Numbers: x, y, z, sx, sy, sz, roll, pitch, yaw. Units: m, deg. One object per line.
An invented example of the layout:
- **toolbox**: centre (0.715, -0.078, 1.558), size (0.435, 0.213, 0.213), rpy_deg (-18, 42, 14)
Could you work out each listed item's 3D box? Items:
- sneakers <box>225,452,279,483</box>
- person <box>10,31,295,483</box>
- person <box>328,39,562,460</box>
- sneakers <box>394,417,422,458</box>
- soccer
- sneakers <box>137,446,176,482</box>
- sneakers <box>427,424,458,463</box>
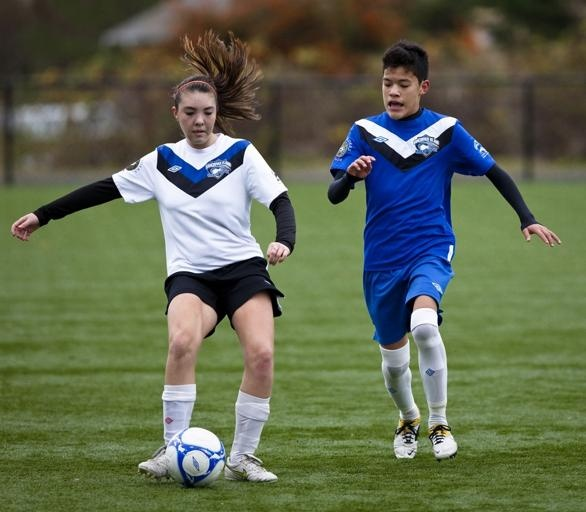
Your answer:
- **sneakers**: centre (-0.266, 1.208, 5.842), size (0.344, 0.156, 0.124), rpy_deg (1, 3, 16)
- **person**: centre (-0.612, 0.097, 5.928), size (1.231, 2.245, 0.868), rpy_deg (-1, 11, 0)
- **person**: centre (0.748, -0.048, 6.192), size (1.112, 2.453, 0.820), rpy_deg (2, 12, 12)
- **sneakers**: centre (0.689, 1.102, 6.191), size (0.094, 0.117, 0.272), rpy_deg (7, 22, -1)
- **soccer**: centre (-0.500, 1.131, 5.741), size (0.311, 0.311, 0.305), rpy_deg (13, -23, 15)
- **sneakers**: centre (-0.766, 1.155, 5.757), size (0.090, 0.180, 0.263), rpy_deg (-19, -25, 32)
- **sneakers**: centre (0.874, 1.106, 6.074), size (0.097, 0.112, 0.263), rpy_deg (-39, 8, 4)
